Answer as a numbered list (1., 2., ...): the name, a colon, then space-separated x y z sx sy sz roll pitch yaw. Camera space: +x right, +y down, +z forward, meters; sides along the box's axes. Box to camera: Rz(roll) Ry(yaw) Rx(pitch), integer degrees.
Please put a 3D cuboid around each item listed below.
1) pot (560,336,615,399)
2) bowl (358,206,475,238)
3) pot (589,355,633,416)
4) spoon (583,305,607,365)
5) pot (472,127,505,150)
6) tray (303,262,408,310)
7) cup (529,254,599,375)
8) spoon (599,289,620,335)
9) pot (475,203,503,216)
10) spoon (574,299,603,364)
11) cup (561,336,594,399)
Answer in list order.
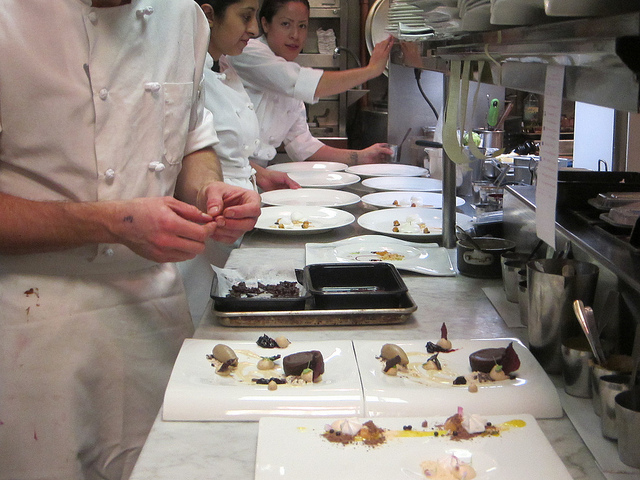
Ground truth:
1. pot: 0.482 0.238 0.963 0.108 0.120 0.121 3 10 17
2. bowl: 0.340 -0.069 1.974 0.370 0.098 0.372 1 17 0
3. pot: 0.501 0.261 0.908 0.064 0.126 0.073 2 20 1
4. spoon: 0.506 0.179 0.920 0.017 0.112 0.019 -23 7 -43
5. pot: 0.818 -0.486 2.425 0.129 0.080 0.291 4 17 12
6. tray: 0.100 0.082 1.373 0.311 0.114 0.280 -5 9 -28
7. cup: 0.521 0.149 1.046 0.147 0.240 0.148 -3 9 0
8. spoon: 0.585 0.150 1.006 0.013 0.112 0.012 20 3 40
9. pot: 0.630 -0.108 1.869 0.087 0.041 0.108 5 17 16
10. spoon: 0.470 0.150 0.885 0.018 0.153 0.018 -19 -5 22
11. cup: 0.504 0.254 0.974 0.079 0.092 0.083 2 0 0
